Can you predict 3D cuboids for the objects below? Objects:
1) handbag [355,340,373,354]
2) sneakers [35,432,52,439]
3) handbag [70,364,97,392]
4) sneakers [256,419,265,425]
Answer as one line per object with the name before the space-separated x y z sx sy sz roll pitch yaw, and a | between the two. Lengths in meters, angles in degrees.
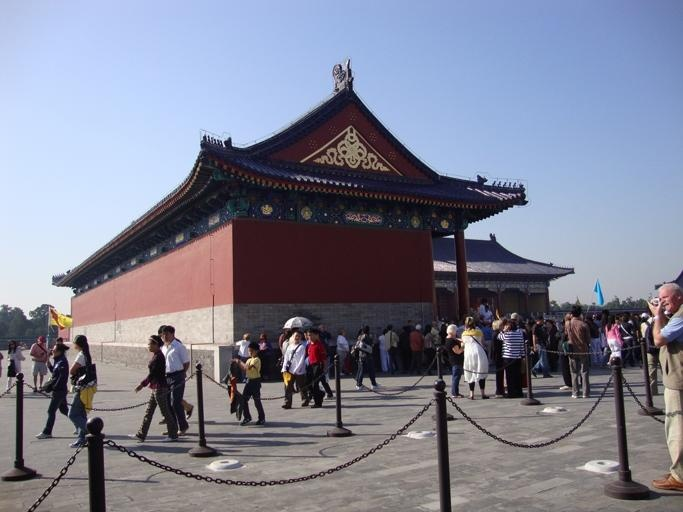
handbag | 0.651 2.575 17.514 0.393 0.260 0.300 26 -21 -30
sneakers | -5.875 3.552 12.509 0.300 0.148 0.117 9 -12 -18
handbag | -4.824 2.320 12.043 0.537 0.620 0.393 8 -15 -38
sneakers | -1.651 3.384 12.925 0.142 0.161 0.088 3 -7 16
